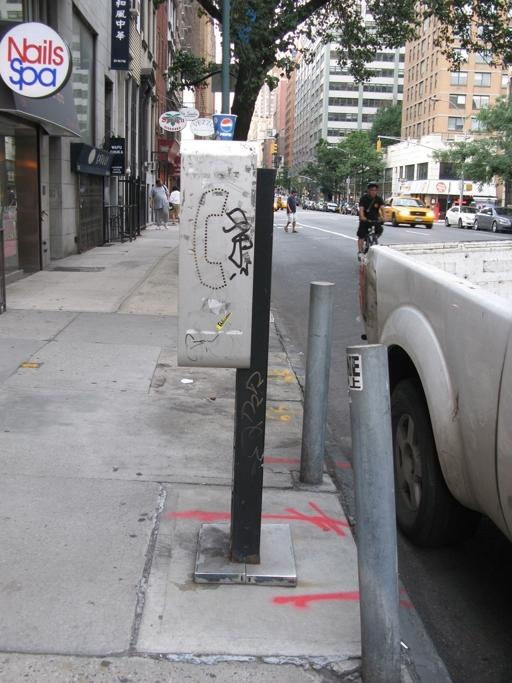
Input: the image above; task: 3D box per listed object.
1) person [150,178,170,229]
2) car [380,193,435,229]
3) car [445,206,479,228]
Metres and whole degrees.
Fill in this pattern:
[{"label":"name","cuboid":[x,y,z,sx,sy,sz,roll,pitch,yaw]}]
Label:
[{"label":"person","cuboid":[-4.672,-6.781,30.937,0.763,2.485,0.721,-5,-9,0]},{"label":"car","cuboid":[8.918,-7.561,37.255,2.566,1.880,2.692,5,8,8]},{"label":"car","cuboid":[14.480,-8.781,44.709,1.282,1.258,3.120,-1,7,-7]}]
